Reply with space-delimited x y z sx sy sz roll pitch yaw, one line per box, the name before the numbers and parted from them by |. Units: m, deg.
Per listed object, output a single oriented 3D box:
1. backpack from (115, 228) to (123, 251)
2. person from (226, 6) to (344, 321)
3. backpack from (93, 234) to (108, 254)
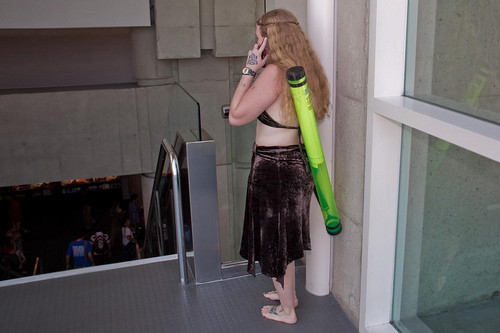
backpack | -3.278 1.793 9.875 0.181 0.318 0.642 -10 18 -15
person | 0.253 0.012 2.870 0.735 2.161 0.721 -3 16 6
backpack | -3.071 1.613 8.204 0.231 0.352 0.335 -2 5 -22
